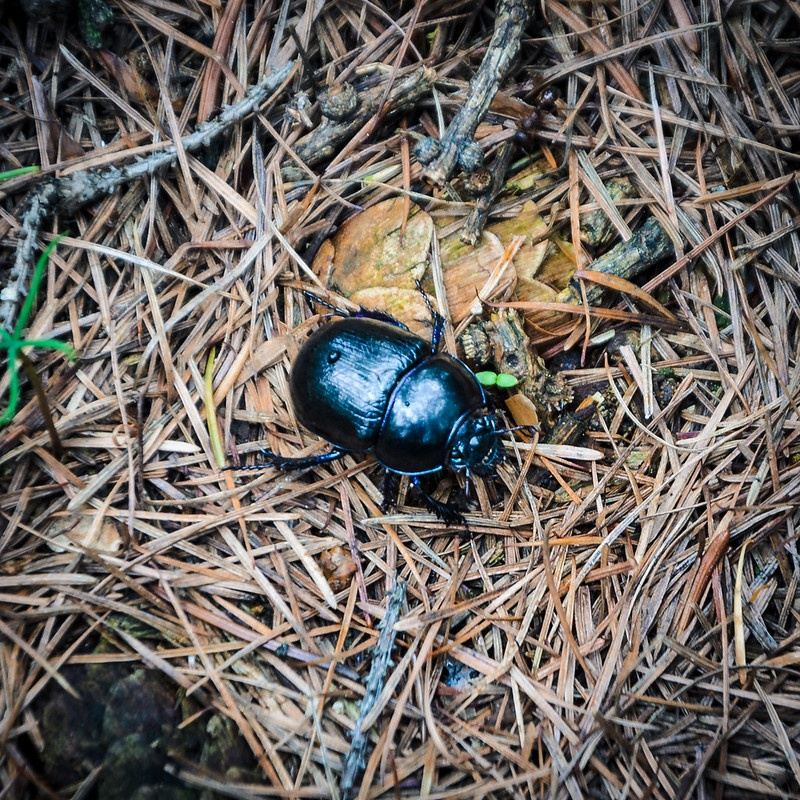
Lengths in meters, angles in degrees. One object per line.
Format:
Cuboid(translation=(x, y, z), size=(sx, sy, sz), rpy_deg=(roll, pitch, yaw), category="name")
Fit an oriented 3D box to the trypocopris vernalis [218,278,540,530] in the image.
Cuboid(translation=(0.001, 0.013, 3.750), size=(0.952, 0.172, 0.579), rpy_deg=(32, 85, 2), category="trypocopris vernalis")
